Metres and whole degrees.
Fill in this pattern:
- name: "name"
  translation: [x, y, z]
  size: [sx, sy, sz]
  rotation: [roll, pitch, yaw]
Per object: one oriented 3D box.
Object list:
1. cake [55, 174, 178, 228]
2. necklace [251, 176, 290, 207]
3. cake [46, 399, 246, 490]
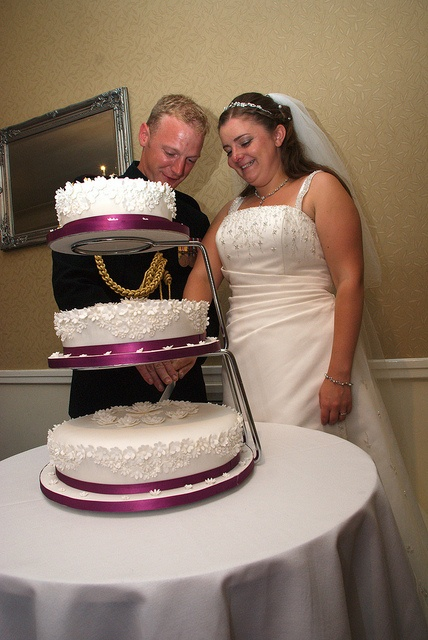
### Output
- name: "cake"
  translation: [-0.232, -0.274, 1.260]
  size: [0.172, 0.048, 0.163]
  rotation: [-1, 0, 2]
- name: "necklace"
  translation: [0.225, -0.503, 2.119]
  size: [0.020, 0.112, 0.095]
  rotation: [38, 10, -41]
- name: "cake"
  translation: [-0.147, 0.286, 1.343]
  size: [0.502, 0.141, 0.504]
  rotation: [-5, -3, -28]
